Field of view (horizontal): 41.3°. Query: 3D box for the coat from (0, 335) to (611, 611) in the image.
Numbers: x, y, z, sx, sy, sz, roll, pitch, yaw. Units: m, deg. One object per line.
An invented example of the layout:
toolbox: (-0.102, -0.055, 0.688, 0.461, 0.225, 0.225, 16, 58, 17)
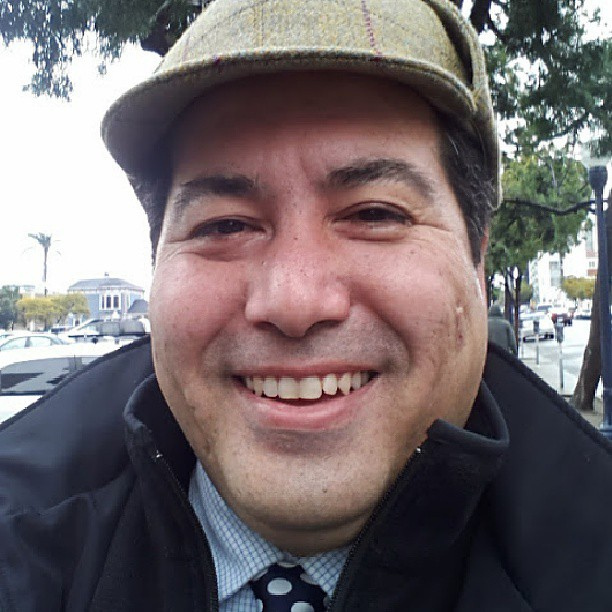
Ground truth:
coat: (-0.043, 0.572, 2.661, 1.998, 0.655, 0.722, -2, 0, 11)
